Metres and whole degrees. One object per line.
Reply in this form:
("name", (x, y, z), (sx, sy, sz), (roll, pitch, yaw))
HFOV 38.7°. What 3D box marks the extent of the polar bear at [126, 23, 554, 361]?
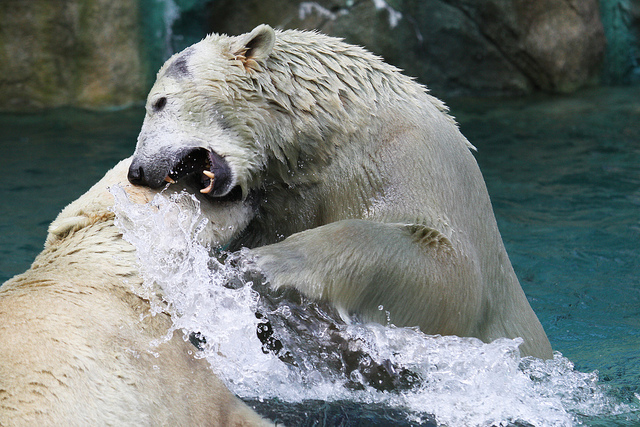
("polar bear", (0.050, 0.001, 7.133), (3.130, 1.650, 1.896), (26, 67, -7))
